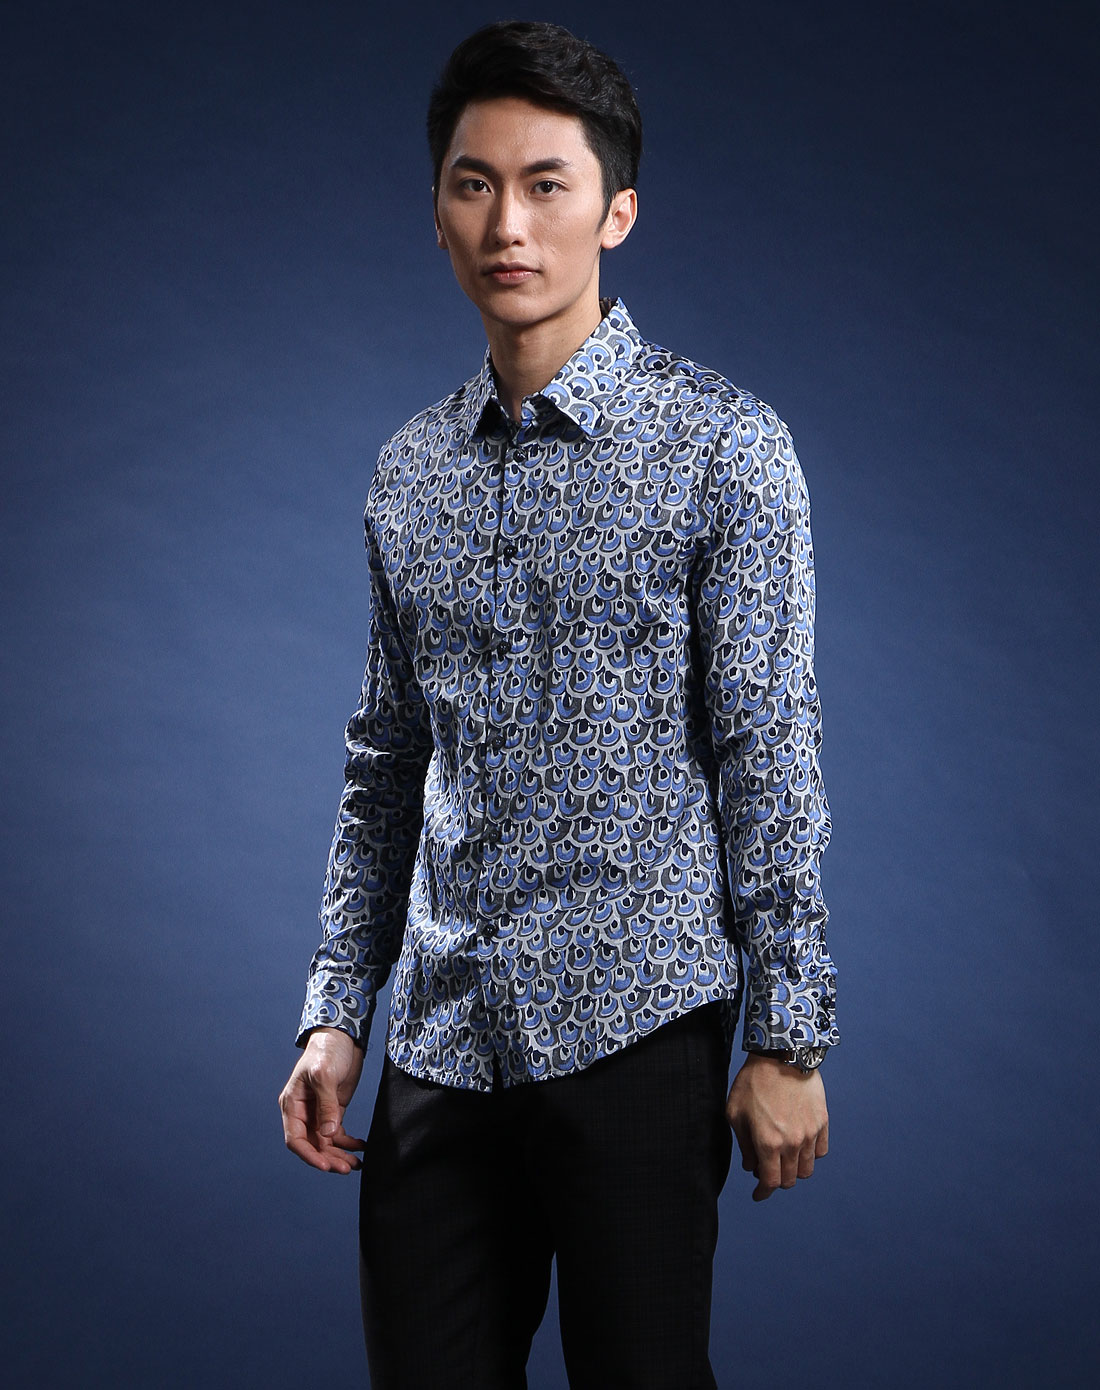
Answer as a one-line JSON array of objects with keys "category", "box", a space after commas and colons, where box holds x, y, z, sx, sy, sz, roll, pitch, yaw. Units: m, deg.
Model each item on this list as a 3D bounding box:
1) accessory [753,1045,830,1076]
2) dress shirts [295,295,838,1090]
[{"category": "accessory", "box": [0.212, 0.325, 1.559, 0.049, 0.020, 0.037, 0, -1, 30]}, {"category": "dress shirts", "box": [0.021, 0.007, 1.678, 0.297, 0.766, 0.572, -6, 14, -42]}]
